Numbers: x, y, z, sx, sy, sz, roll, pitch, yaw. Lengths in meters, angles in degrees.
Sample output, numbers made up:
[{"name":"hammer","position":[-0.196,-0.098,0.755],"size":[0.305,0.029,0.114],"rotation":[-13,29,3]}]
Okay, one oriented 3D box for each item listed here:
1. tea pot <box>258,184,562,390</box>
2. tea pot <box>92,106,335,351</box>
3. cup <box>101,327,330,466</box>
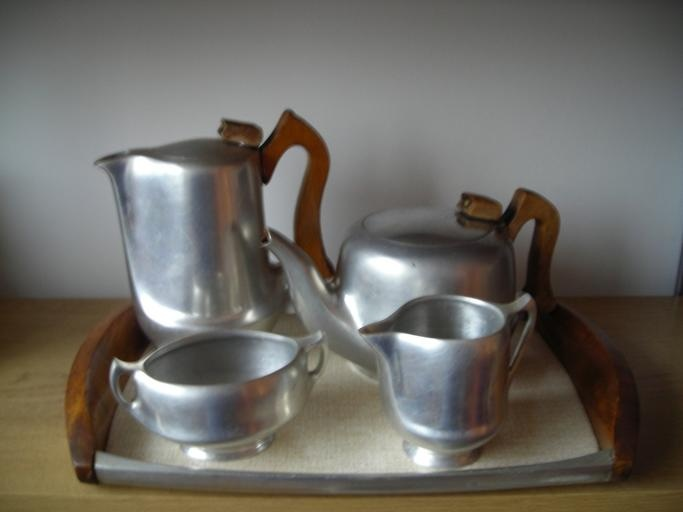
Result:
[{"name":"tea pot","position":[0.100,0.034,0.708],"size":[0.335,0.223,0.219],"rotation":[-4,14,-14]},{"name":"tea pot","position":[-0.138,-0.022,0.709],"size":[0.237,0.282,0.183],"rotation":[2,14,-1]},{"name":"cup","position":[-0.114,0.118,0.577],"size":[0.184,0.075,0.098],"rotation":[4,20,8]}]
